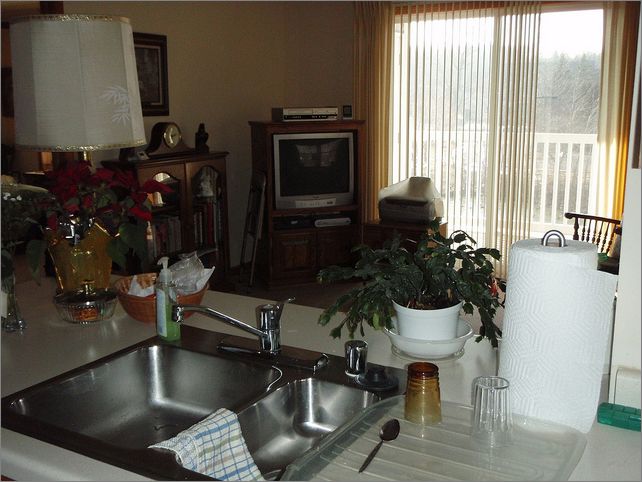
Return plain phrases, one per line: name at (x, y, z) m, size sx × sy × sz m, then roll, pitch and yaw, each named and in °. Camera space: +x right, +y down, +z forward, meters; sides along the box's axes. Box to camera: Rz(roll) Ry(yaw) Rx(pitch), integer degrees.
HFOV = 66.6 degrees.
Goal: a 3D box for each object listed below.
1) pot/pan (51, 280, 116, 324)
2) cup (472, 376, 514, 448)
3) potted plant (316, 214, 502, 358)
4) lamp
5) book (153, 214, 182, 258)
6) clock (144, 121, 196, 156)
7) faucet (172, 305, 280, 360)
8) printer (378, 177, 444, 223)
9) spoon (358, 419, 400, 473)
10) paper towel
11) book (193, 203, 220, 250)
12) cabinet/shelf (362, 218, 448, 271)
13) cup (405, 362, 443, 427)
pot/pan at (-0.864, 0.215, 1.798) m, size 0.219 × 0.135 × 0.199 m, roll -7°, pitch 17°, yaw -41°
cup at (0.368, 0.353, 1.071) m, size 0.089 × 0.134 × 0.104 m, roll -5°, pitch 8°, yaw -35°
potted plant at (0.256, 0.122, 1.450) m, size 0.459 × 0.289 × 0.368 m, roll -2°, pitch 7°, yaw -3°
lamp at (-0.812, -0.506, 1.699) m, size 0.395 × 0.460 × 0.415 m, roll 12°, pitch 18°, yaw 38°
book at (-1.324, -0.077, 4.296) m, size 0.253 × 0.381 × 0.365 m, roll -4°, pitch 5°, yaw -25°
clock at (-1.328, -0.904, 4.204) m, size 0.152 × 0.269 × 0.435 m, roll 17°, pitch 22°, yaw 37°
faucet at (-0.266, 0.267, 1.492) m, size 0.337 × 0.175 × 0.103 m, roll -1°, pitch 19°, yaw -11°
printer at (0.951, -0.419, 5.036) m, size 0.587 × 0.463 × 0.457 m, roll 10°, pitch 12°, yaw 32°
spoon at (0.129, 0.428, 1.019) m, size 0.041 × 0.017 × 0.188 m, roll 7°, pitch 17°, yaw 25°
paper towel at (0.519, 0.220, 1.084) m, size 0.206 × 0.405 × 0.107 m, roll 7°, pitch 16°, yaw 28°
book at (-1.055, -0.139, 4.443) m, size 0.191 × 0.360 × 0.356 m, roll -1°, pitch 10°, yaw -7°
cabinet/shelf at (0.873, 0.081, 5.119) m, size 0.839 × 0.547 × 0.683 m, roll -1°, pitch -14°, yaw 10°
cup at (0.227, 0.347, 1.092) m, size 0.109 × 0.163 × 0.113 m, roll 0°, pitch 1°, yaw 0°
